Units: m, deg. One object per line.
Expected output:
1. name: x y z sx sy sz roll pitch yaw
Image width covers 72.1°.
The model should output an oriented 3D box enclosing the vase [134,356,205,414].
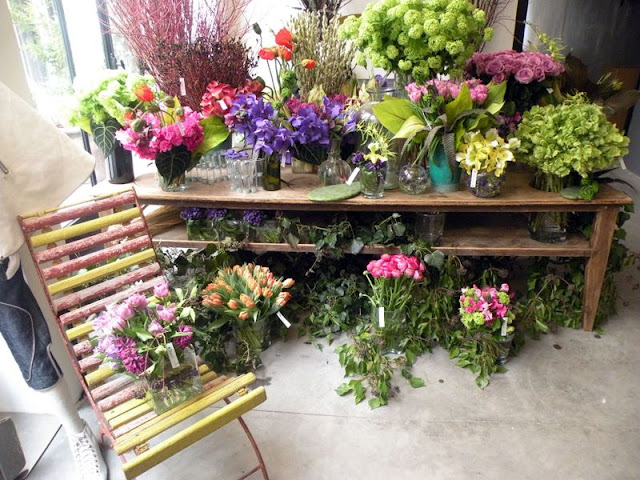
1. vase: -0.742 0.749 2.288 0.379 0.372 0.266 10 51 -35

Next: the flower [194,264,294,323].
1. flower: -0.491 0.339 2.990 0.533 0.501 0.324 10 78 19

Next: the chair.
1. chair: -0.995 0.558 2.460 0.788 1.375 1.073 -32 60 -23

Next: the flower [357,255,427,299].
1. flower: 0.491 0.201 2.938 0.334 0.293 0.327 14 32 35

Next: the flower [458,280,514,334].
1. flower: 1.106 0.460 2.897 0.352 0.323 0.303 4 30 11

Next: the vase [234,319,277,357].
1. vase: -0.429 0.688 3.043 0.266 0.235 0.257 -19 59 -2

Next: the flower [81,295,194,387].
1. flower: -0.820 0.453 2.207 0.429 0.366 0.420 37 77 4
